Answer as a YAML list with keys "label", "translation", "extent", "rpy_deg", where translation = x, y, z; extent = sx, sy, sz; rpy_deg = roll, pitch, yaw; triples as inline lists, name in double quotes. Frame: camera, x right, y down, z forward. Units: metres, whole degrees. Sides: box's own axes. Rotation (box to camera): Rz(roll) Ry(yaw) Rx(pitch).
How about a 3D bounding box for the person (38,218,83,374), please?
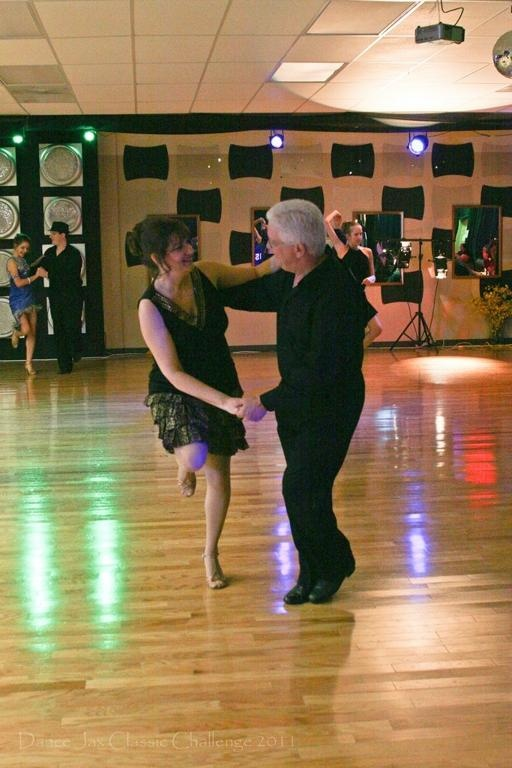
- label: "person"
  translation: [-2.542, -1.094, 8.263]
  extent: [0.460, 1.902, 0.526]
  rpy_deg: [0, 5, 10]

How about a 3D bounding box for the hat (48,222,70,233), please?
- label: "hat"
  translation: [-2.507, -1.964, 8.079]
  extent: [0.206, 0.133, 0.261]
  rpy_deg: [4, 11, -13]

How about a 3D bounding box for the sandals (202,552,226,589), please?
- label: "sandals"
  translation: [-0.147, 0.637, 2.161]
  extent: [0.052, 0.058, 0.140]
  rpy_deg: [1, 14, -12]

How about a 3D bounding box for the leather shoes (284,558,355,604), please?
- label: "leather shoes"
  translation: [0.231, 0.643, 2.103]
  extent: [0.293, 0.116, 0.088]
  rpy_deg: [-3, -1, -29]

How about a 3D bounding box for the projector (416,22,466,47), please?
- label: "projector"
  translation: [1.386, -2.619, 4.775]
  extent: [0.281, 0.132, 0.276]
  rpy_deg: [-3, 4, -27]

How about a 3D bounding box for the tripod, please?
- label: "tripod"
  translation: [2.513, -1.438, 10.097]
  extent: [0.705, 1.773, 0.477]
  rpy_deg: [-1, 5, -1]

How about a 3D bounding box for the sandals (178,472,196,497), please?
- label: "sandals"
  translation: [-0.268, 0.385, 2.509]
  extent: [0.051, 0.068, 0.159]
  rpy_deg: [-2, 19, -2]

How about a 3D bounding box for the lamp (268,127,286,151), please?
- label: "lamp"
  translation: [0.305, -3.729, 9.696]
  extent: [0.232, 0.274, 0.230]
  rpy_deg: [-1, 4, 0]

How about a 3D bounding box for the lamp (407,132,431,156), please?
- label: "lamp"
  translation: [2.518, -3.744, 9.959]
  extent: [0.255, 0.332, 0.115]
  rpy_deg: [2, 12, 0]

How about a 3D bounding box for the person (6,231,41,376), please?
- label: "person"
  translation: [-3.077, -1.043, 8.511]
  extent: [0.424, 1.814, 1.239]
  rpy_deg: [-2, 5, -20]

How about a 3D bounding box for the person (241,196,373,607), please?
- label: "person"
  translation: [0.173, 0.092, 1.894]
  extent: [0.303, 1.236, 0.344]
  rpy_deg: [0, 5, 9]
